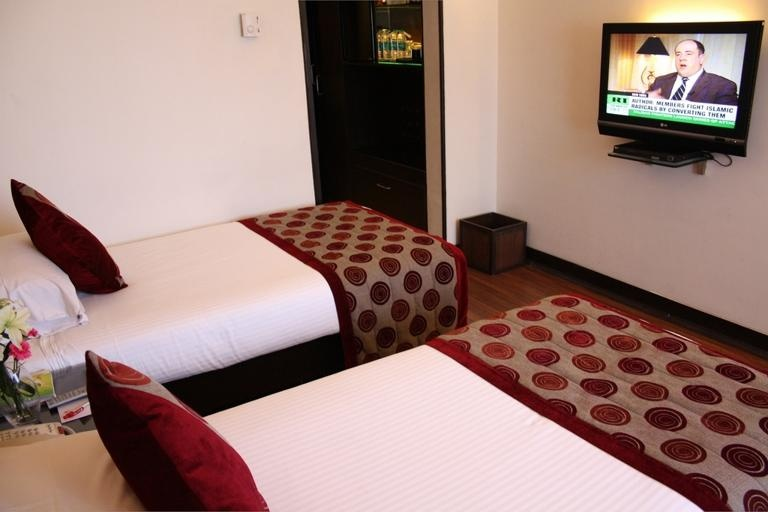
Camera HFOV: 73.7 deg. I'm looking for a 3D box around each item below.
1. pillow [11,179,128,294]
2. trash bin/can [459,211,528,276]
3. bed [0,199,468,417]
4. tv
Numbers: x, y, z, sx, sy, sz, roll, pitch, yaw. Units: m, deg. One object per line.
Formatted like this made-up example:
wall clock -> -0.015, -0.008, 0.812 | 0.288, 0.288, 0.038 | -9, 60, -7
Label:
pillow -> -1.850, -0.084, 2.944 | 0.519, 0.626, 0.252 | 9, 29, 23
trash bin/can -> 1.029, -0.150, 4.813 | 0.534, 0.429, 0.514 | -14, 28, -23
bed -> -0.611, 0.235, 3.125 | 1.983, 0.483, 1.218 | -18, 36, -30
tv -> 1.993, -1.081, 3.364 | 0.388, 0.738, 0.971 | -17, 24, -26
